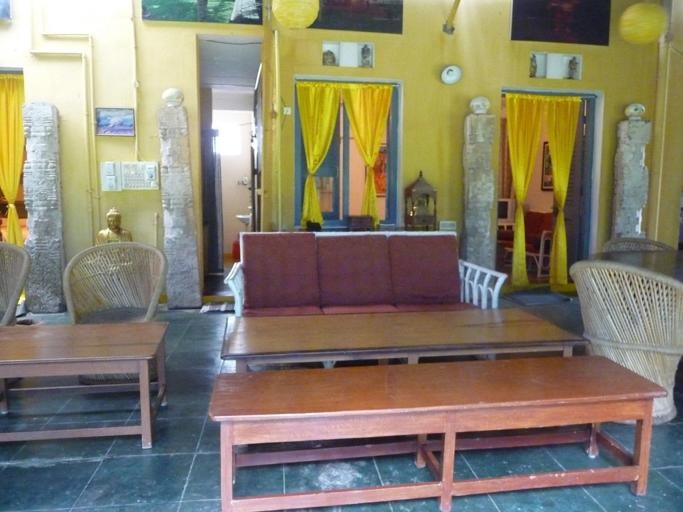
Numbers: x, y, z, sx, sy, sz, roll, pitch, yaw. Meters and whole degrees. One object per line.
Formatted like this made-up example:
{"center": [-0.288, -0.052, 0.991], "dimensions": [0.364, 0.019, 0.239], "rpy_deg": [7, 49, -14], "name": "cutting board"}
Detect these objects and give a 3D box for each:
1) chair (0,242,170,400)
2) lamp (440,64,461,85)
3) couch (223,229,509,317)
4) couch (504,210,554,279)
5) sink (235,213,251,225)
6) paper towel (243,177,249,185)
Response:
{"center": [-1.818, 0.439, 4.922], "dimensions": [1.080, 1.305, 1.014], "rpy_deg": [0, 6, -8], "name": "chair"}
{"center": [1.268, -2.109, 7.110], "dimensions": [0.259, 0.217, 0.188], "rpy_deg": [-2, 8, 1], "name": "lamp"}
{"center": [0.118, 0.115, 5.308], "dimensions": [2.127, 0.692, 0.717], "rpy_deg": [-4, 8, -11], "name": "couch"}
{"center": [2.846, -0.245, 9.468], "dimensions": [0.741, 0.782, 1.928], "rpy_deg": [0, 7, 17], "name": "couch"}
{"center": [-1.595, -0.608, 9.803], "dimensions": [0.368, 0.134, 0.324], "rpy_deg": [3, 4, 2], "name": "sink"}
{"center": [-1.643, -1.306, 10.618], "dimensions": [0.098, 0.117, 0.110], "rpy_deg": [-1, -1, 1], "name": "paper towel"}
